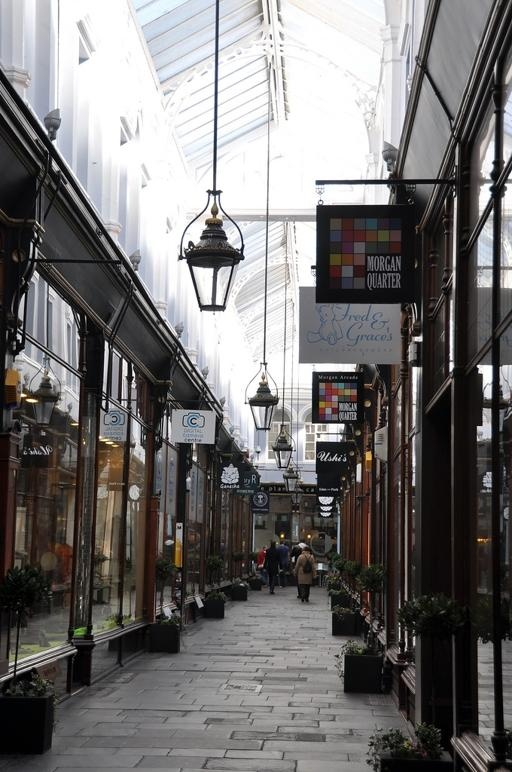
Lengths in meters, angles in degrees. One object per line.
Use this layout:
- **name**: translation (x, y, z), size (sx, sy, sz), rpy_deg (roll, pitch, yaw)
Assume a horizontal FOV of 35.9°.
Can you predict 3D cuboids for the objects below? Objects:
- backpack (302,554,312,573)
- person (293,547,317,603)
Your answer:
- **backpack**: translation (1.620, 5.581, 24.961), size (0.314, 0.407, 0.734), rpy_deg (-2, -15, 4)
- **person**: translation (1.573, 5.878, 25.419), size (0.559, 1.913, 0.544), rpy_deg (2, 18, -2)
